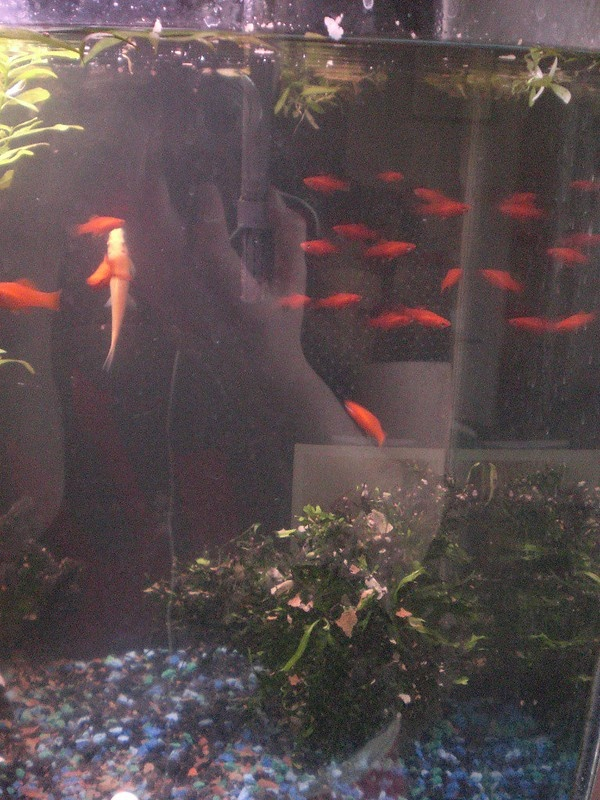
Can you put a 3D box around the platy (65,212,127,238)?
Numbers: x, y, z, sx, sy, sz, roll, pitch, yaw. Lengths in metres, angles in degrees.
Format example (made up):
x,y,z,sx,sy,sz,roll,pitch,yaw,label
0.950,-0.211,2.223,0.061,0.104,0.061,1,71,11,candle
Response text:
x,y,z,sx,sy,sz,roll,pitch,yaw,label
-0.323,-0.281,1.310,0.080,0.032,0.008,3,12,2,platy

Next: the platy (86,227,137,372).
x,y,z,sx,sy,sz,roll,pitch,yaw,label
-0.304,-0.153,1.321,0.056,0.195,0.069,7,11,0,platy
